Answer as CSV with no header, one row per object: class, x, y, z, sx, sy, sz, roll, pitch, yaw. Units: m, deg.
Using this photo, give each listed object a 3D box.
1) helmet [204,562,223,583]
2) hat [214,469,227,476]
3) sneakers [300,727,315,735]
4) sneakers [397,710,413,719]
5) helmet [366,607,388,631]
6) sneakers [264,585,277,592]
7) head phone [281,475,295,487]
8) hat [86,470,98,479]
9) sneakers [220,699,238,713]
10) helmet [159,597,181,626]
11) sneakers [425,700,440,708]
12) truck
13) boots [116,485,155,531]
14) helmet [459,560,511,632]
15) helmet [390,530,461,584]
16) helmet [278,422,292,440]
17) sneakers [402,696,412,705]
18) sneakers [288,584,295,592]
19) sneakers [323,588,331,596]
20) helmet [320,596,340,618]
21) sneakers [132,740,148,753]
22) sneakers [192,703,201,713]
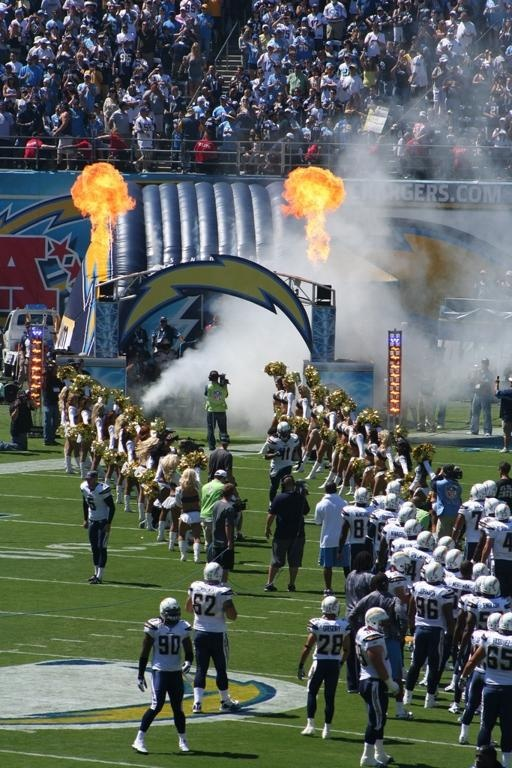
helmet,-0.435,1.955,19.099,0.152,0.208,0.211,4,9,1
hat,-0.482,1.177,24.659,0.114,0.092,0.197,7,-6,28
sneakers,0.552,3.512,18.712,0.140,0.102,0.166,4,-1,2
sneakers,1.619,3.478,19.420,0.154,0.076,0.068,-4,11,-31
helmet,1.215,2.312,18.165,0.193,0.230,0.289,4,0,-21
sneakers,0.219,2.738,24.752,0.186,0.092,0.064,-1,7,-28
head phone,0.451,1.289,24.299,0.131,0.156,0.180,3,15,2
hat,-2.167,1.195,24.123,0.119,0.153,0.145,2,5,-1
sneakers,-0.270,3.404,19.485,0.089,0.125,0.255,4,4,37
helmet,-0.844,2.228,18.098,0.171,0.225,0.250,-1,19,-5
sneakers,1.967,3.473,20.033,0.166,0.076,0.055,-26,40,-22
truck,-5.753,-1.225,46.198,1.144,1.365,2.116,0,7,-6
boots,-1.945,1.992,29.591,0.246,0.773,0.607,-16,14,-22
helmet,2.446,2.273,19.121,0.473,0.558,0.299,4,0,11
helmet,1.908,1.882,20.725,0.468,0.724,0.271,7,0,16
helmet,0.473,0.664,27.706,0.171,0.241,0.238,0,-35,3
sneakers,1.674,3.390,19.799,0.102,0.052,0.123,1,-6,-8
sneakers,0.511,2.756,24.932,0.068,0.083,0.182,1,-6,-4
sneakers,0.967,2.724,24.110,0.099,0.127,0.176,3,6,13
helmet,0.778,2.250,18.602,0.156,0.215,0.303,4,-1,-1
sneakers,-1.135,3.524,17.969,0.162,0.129,0.266,4,-1,-2
sneakers,-0.616,3.416,19.425,0.097,0.112,0.208,4,-1,-2
